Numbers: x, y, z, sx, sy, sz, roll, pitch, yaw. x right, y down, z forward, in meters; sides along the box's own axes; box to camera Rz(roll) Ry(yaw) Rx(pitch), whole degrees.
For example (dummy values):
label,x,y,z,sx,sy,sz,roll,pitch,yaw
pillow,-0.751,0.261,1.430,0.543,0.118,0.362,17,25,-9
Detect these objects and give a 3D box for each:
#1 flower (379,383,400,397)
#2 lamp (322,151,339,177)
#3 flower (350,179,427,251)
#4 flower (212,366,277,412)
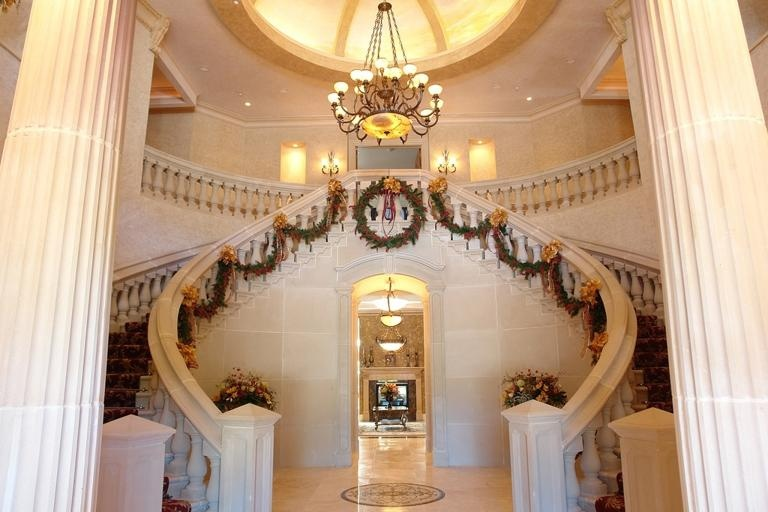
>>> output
label,x,y,z,sx,sy,sz,roll,pitch,yaw
flower,0.193,4.499,18.246,0.595,0.484,0.587,4,-5,-40
lamp,-1.371,-2.376,13.918,0.486,0.683,0.220,2,-21,-8
flower,0.169,-0.757,8.808,1.230,1.202,0.372,1,-6,5
flower,-2.050,1.933,8.014,0.856,0.675,0.856,4,-21,-14
